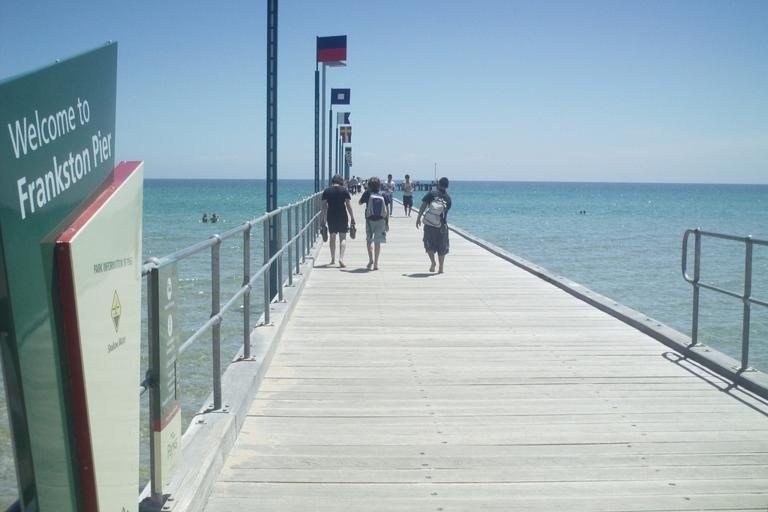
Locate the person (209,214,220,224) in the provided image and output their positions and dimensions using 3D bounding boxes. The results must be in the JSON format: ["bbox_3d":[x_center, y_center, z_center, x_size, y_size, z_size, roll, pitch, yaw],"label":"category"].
[{"bbox_3d":[-18.564,-4.002,82.237,0.581,1.554,0.538,-6,-8,27],"label":"person"}]

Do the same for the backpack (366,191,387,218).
[{"bbox_3d":[-0.163,-0.969,14.609,0.372,0.488,0.599,0,9,-3],"label":"backpack"}]

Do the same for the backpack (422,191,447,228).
[{"bbox_3d":[0.950,-0.749,13.635,0.354,0.478,0.294,19,10,16],"label":"backpack"}]
